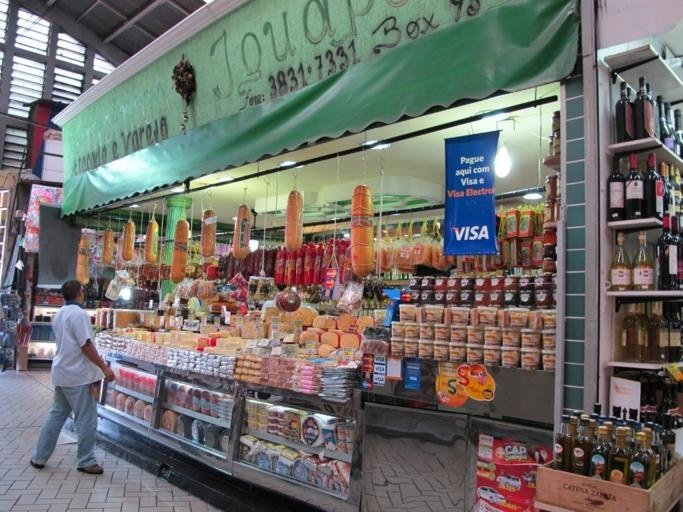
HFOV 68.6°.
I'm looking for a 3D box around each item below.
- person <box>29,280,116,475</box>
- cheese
[{"bbox_3d":[-2.783,1.236,5.295,0.730,1.942,0.647,-2,-5,20],"label":"person"},{"bbox_3d":[-0.276,0.718,5.096,0.654,0.399,1.337,1,-2,-41],"label":"cheese"}]
